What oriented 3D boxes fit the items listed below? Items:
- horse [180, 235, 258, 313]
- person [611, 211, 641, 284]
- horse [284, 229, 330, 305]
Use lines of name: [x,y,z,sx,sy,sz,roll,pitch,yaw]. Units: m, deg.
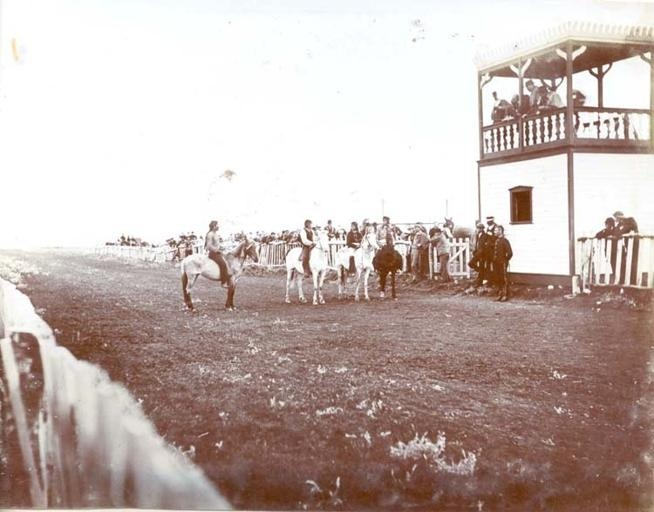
horse: [-2.293,0.369,11.163,1.638,1.587,0.565,0,17,-8]
person: [6.210,-0.174,10.804,0.550,1.487,0.445,6,7,42]
horse: [-0.451,0.335,13.467,0.559,1.887,1.980,5,-4,-32]
